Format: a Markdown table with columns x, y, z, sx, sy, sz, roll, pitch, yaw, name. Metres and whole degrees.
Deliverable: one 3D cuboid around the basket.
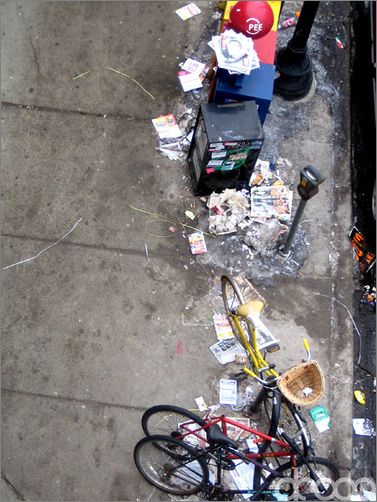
| x | y | z | sx | sy | sz | roll | pitch | yaw | name |
| --- | --- | --- | --- | --- | --- | --- | --- | --- | --- |
| 0.842 | 1.027 | 3.629 | 0.351 | 0.299 | 0.273 | -22 | 64 | -17 | basket |
